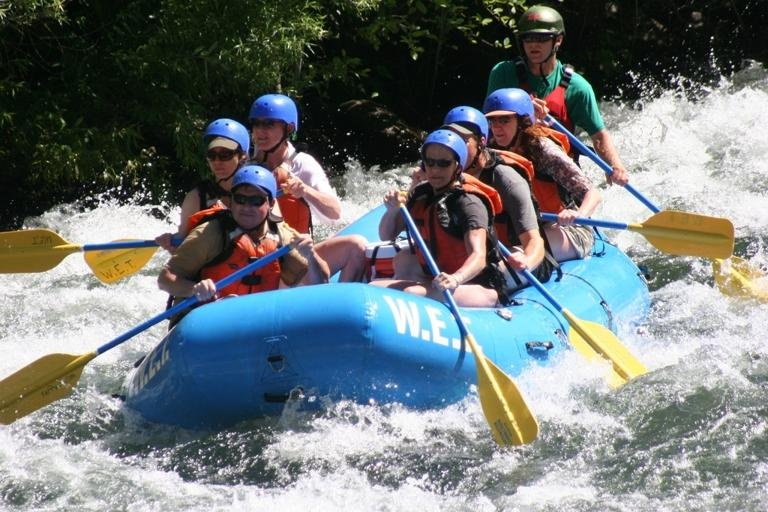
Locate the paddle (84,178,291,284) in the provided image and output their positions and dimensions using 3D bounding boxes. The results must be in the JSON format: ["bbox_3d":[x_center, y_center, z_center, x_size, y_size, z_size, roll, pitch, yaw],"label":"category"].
[{"bbox_3d":[-1.871,-0.184,9.000,2.057,0.623,0.117,-21,-15,0],"label":"paddle"}]

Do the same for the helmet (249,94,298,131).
[{"bbox_3d":[-1.029,-1.324,9.080,0.344,0.278,0.292,-3,5,13],"label":"helmet"}]

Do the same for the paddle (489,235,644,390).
[{"bbox_3d":[1.540,0.537,8.421,0.212,1.446,0.154,-35,-6,-25],"label":"paddle"}]

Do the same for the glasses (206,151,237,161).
[{"bbox_3d":[-1.433,-0.883,8.588,0.252,0.108,0.048,-7,18,-4],"label":"glasses"}]

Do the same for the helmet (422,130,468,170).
[{"bbox_3d":[0.535,-0.909,8.266,0.258,0.402,0.289,-1,25,24],"label":"helmet"}]
